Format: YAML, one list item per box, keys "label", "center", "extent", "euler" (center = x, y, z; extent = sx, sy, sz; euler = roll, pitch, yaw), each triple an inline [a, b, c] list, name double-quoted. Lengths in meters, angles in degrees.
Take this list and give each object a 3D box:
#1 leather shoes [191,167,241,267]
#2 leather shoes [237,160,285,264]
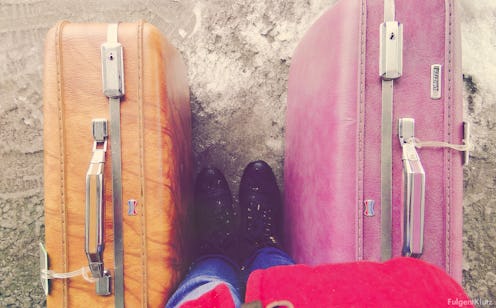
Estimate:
- label: "leather shoes"
  center: [-0.146, 0.275, 2.988]
  extent: [0.165, 0.189, 0.462]
  euler: [-4, 86, -1]
- label: "leather shoes"
  center: [0.056, 0.254, 3.003]
  extent: [0.178, 0.197, 0.483]
  euler: [-1, 92, -3]
